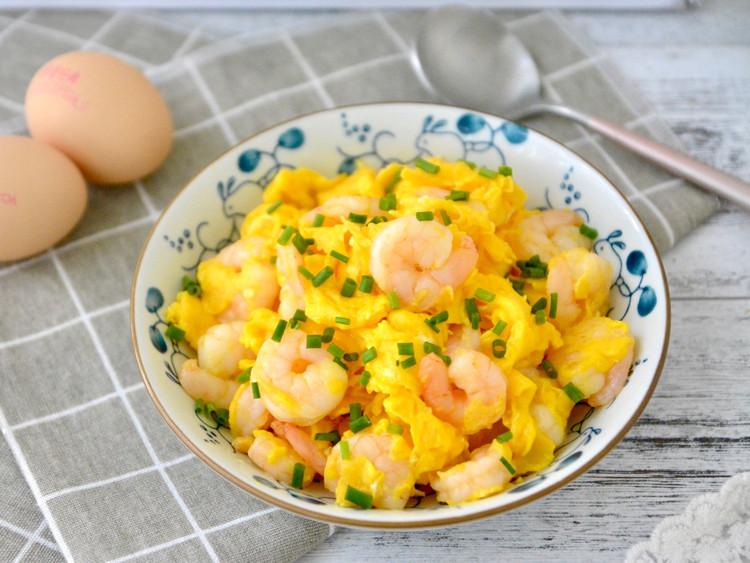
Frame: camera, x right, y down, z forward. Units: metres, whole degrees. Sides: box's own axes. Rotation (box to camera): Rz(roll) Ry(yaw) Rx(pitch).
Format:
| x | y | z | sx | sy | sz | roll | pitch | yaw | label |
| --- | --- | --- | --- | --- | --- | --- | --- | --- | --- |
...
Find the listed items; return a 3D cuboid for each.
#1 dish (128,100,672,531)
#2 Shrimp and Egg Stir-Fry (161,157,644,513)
| x | y | z | sx | sy | sz | roll | pitch | yaw | label |
| --- | --- | --- | --- | --- | --- | --- | --- | --- | --- |
| 0.119 | 0.302 | 3.016 | 1.426 | 1.487 | 1.531 | 2 | 34 | 7 | dish |
| 0.120 | 0.182 | 2.762 | 1.469 | 1.093 | 0.411 | -23 | -10 | 0 | Shrimp and Egg Stir-Fry |
